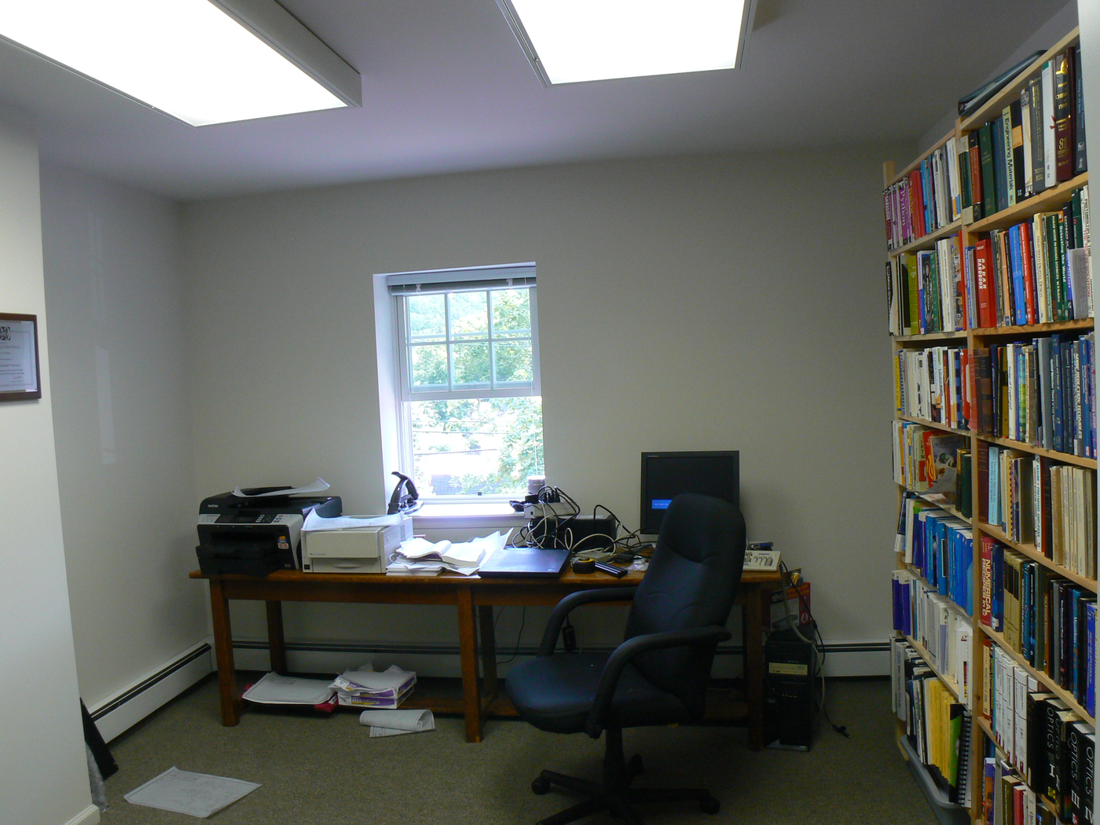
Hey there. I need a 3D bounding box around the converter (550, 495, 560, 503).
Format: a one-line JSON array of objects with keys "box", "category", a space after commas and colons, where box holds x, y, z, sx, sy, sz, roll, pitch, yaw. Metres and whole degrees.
[{"box": [0.024, 0.469, 4.638, 0.042, 0.032, 0.025, 0, -4, 1], "category": "converter"}]

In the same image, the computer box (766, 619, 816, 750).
[{"box": [1.167, 1.386, 4.102, 0.210, 0.399, 0.257, -1, -25, 8], "category": "computer box"}]

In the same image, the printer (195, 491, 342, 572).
[{"box": [-1.548, 0.617, 4.398, 0.376, 0.281, 0.548, 0, -1, 2], "category": "printer"}]

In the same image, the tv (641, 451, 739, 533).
[{"box": [0.685, 0.386, 4.104, 0.367, 0.349, 0.039, 0, -3, 12], "category": "tv"}]

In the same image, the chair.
[{"box": [0.352, 1.105, 4.222, 1.172, 1.892, 1.224, 2, -7, -13], "category": "chair"}]
